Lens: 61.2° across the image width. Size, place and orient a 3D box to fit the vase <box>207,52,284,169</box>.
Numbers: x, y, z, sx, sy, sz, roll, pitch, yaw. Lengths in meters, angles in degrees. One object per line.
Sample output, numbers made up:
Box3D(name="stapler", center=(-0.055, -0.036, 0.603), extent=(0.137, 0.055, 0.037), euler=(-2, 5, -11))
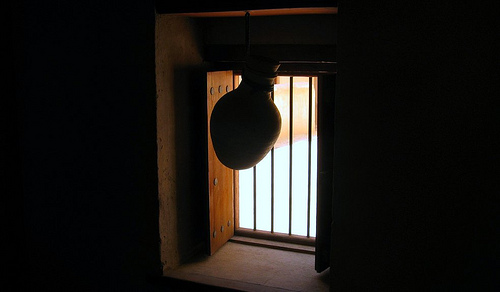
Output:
Box3D(name="vase", center=(0.002, -0.117, 1.547), extent=(0.276, 0.405, 0.279), euler=(2, 17, -42))
